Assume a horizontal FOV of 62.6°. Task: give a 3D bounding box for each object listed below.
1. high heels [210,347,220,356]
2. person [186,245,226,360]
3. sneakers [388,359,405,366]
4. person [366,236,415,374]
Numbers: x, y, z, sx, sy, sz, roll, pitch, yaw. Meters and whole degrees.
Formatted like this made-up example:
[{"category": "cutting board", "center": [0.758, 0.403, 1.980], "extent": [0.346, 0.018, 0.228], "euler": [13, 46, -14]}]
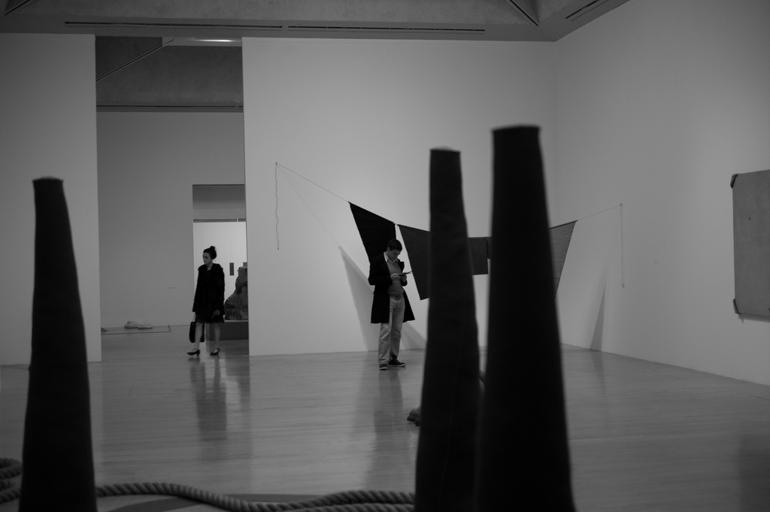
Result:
[{"category": "high heels", "center": [-1.985, 1.144, 7.435], "extent": [0.156, 0.073, 0.053], "euler": [1, -3, 42]}, {"category": "person", "center": [-2.149, 0.547, 7.548], "extent": [0.434, 1.290, 0.739], "euler": [-2, 3, -18]}, {"category": "sneakers", "center": [0.111, 1.090, 6.397], "extent": [0.178, 0.080, 0.067], "euler": [1, -4, -5]}, {"category": "person", "center": [0.051, 0.479, 6.286], "extent": [0.388, 1.273, 0.332], "euler": [-2, 2, -18]}]
